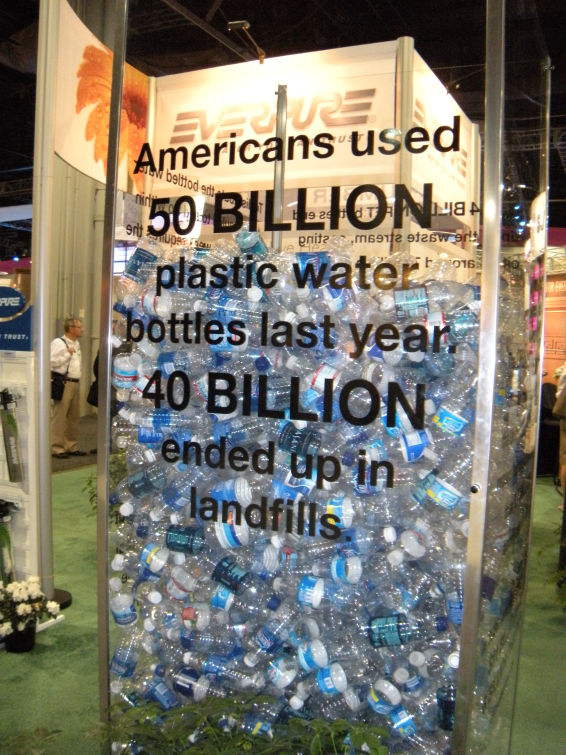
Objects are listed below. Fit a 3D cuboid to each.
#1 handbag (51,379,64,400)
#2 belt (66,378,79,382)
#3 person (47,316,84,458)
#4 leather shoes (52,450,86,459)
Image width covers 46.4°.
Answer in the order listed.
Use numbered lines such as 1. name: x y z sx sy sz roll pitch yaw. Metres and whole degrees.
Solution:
1. handbag: -2.275 0.125 6.645 0.102 0.258 0.155 1 3 -14
2. belt: -2.165 0.029 6.791 0.049 0.051 0.214 3 4 8
3. person: -2.285 0.118 6.929 0.281 1.475 0.699 1 3 -17
4. leather shoes: -2.308 0.816 7.126 0.113 0.126 0.361 3 -6 -44
